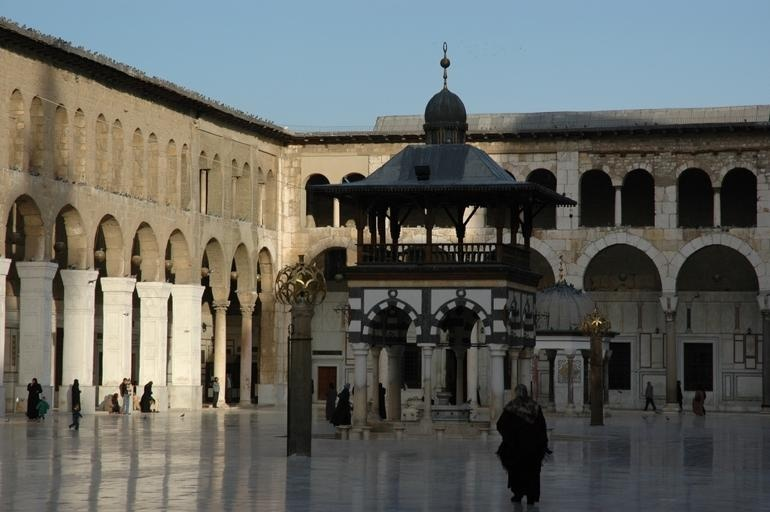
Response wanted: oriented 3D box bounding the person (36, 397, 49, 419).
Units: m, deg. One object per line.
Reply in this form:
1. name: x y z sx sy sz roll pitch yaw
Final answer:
1. person: -10.962 4.979 61.761 0.283 0.664 1.207 1 -9 -7

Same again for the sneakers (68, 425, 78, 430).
1. sneakers: -9.386 5.236 58.057 0.248 0.132 0.480 1 -9 -9

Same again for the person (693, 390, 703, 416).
1. person: 11.480 5.435 70.422 0.394 1.025 0.902 -1 -9 8

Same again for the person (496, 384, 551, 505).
1. person: 3.240 4.483 45.176 0.986 2.816 0.835 7 -12 -38

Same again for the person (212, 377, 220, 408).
1. person: -6.207 5.092 70.975 0.211 1.164 0.602 2 -9 -11

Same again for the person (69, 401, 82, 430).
1. person: -9.662 5.068 60.139 0.511 0.937 0.561 -7 7 -14
